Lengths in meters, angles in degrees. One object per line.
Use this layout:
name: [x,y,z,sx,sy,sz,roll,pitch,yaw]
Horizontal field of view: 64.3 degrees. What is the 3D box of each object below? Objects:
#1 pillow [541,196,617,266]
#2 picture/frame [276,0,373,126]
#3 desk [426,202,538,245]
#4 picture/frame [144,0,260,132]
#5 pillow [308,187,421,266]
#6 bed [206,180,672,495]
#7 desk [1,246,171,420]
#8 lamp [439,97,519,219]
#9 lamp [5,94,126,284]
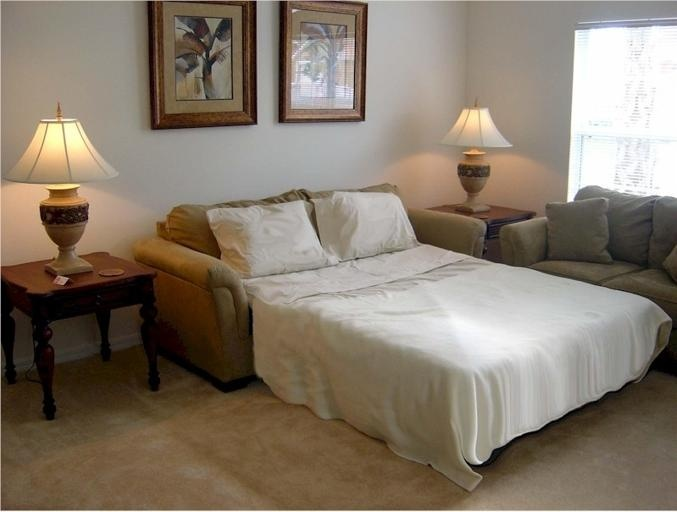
pillow: [1.766,-0.162,4.002,0.406,0.482,0.176,0,-18,22]
picture/frame: [-0.142,-1.494,4.098,0.937,1.108,0.079,-7,15,-36]
desk: [1.264,-0.355,4.574,0.500,0.503,0.498,-14,20,-42]
picture/frame: [-0.955,-1.300,3.604,0.863,1.013,0.069,-7,15,-39]
pillow: [0.200,-0.205,3.967,0.609,0.561,0.172,-5,-20,-32]
bed: [0.291,0.329,3.091,1.629,0.943,2.033,-18,25,-39]
desk: [-1.465,0.391,3.219,0.877,0.870,0.864,-11,18,-43]
lamp: [1.182,-0.823,4.648,0.599,0.856,0.622,3,12,28]
lamp: [-1.515,-0.351,2.962,0.543,0.899,0.327,-5,15,-24]
